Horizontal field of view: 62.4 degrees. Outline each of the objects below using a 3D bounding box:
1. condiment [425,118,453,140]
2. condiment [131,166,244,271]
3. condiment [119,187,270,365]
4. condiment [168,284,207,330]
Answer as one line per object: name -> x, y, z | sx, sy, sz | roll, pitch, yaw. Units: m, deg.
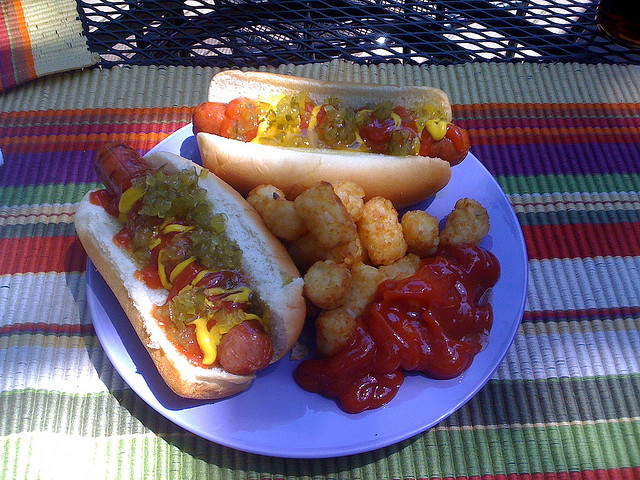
condiment -> 0.716, -0.683, 3.204 | 0.110, 0.049, 0.127 | -36, 71, -12
condiment -> -0.711, -0.093, 2.781 | 0.542, 0.362, 0.652 | 10, 22, 10
condiment -> -0.681, 0.237, 2.904 | 0.559, 0.196, 1.078 | -34, 79, -13
condiment -> -0.642, 0.333, 2.624 | 0.207, 0.167, 0.157 | -15, 60, -16
